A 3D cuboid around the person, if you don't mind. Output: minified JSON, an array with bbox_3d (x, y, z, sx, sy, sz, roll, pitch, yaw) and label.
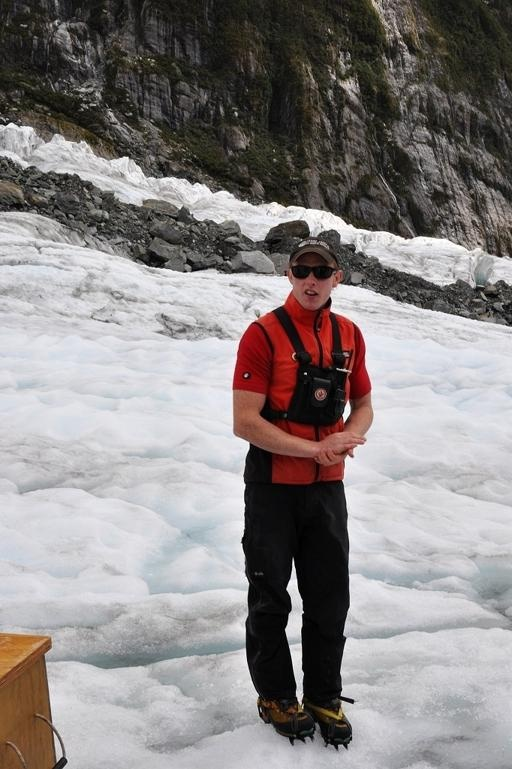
[{"bbox_3d":[0.187,0.444,3.244,0.630,2.092,0.692,4,14,-1],"label":"person"}]

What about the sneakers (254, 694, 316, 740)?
[{"bbox_3d":[0.073,1.386,3.264,0.126,0.151,0.324,-1,-3,-37],"label":"sneakers"}]

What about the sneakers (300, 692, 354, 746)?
[{"bbox_3d":[0.311,1.398,3.291,0.146,0.180,0.330,2,8,-19],"label":"sneakers"}]
